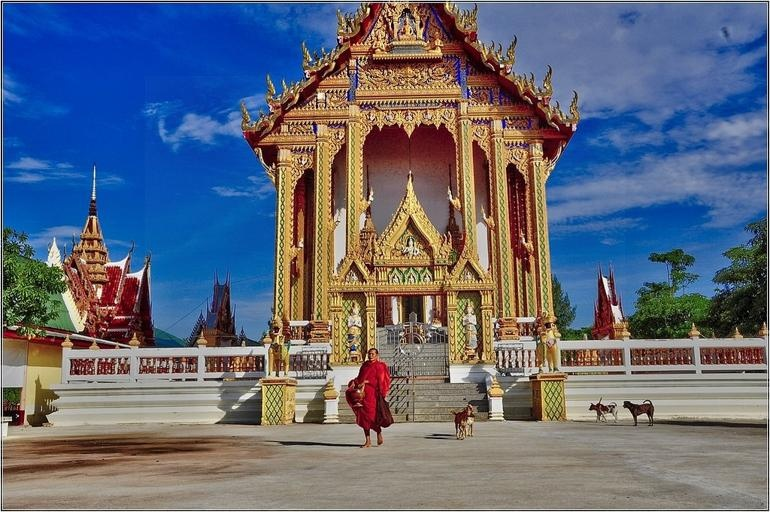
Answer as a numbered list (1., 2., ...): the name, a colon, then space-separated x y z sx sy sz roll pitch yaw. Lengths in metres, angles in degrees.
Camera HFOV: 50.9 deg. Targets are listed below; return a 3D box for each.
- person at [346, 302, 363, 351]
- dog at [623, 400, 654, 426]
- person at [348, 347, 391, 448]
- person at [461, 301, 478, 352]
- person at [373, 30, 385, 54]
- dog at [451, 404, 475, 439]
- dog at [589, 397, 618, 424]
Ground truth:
1. person: -0.691 1.646 18.578 0.335 1.160 0.282 -1 -11 -2
2. dog: 5.051 3.122 16.092 0.501 0.461 1.331 -5 -11 18
3. person: -0.262 2.271 13.060 0.701 1.548 0.855 -1 -11 -1
4. person: 1.958 1.672 18.615 0.347 1.215 0.236 -2 -11 6
5. person: -0.153 -5.920 22.565 0.328 0.702 0.173 3 -12 -20
6. dog: 1.316 2.796 13.668 0.329 0.565 0.857 -2 -11 5
7. dog: 4.515 3.190 16.811 0.613 0.462 1.364 -4 -11 14
